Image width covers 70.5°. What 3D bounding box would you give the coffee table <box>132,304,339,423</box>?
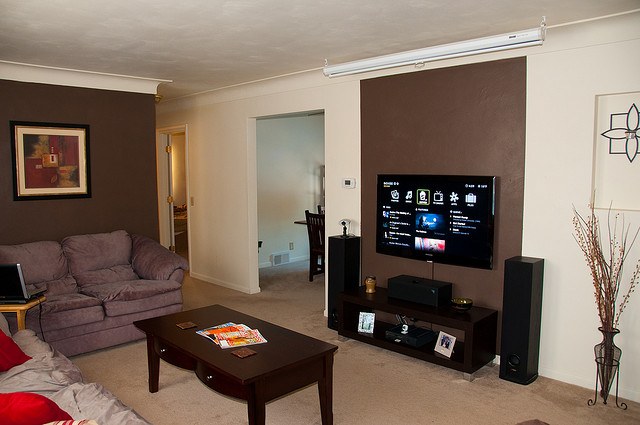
[{"bbox_3d":[-0.746,1.448,4.123,1.704,0.732,0.863,8,14,37],"label":"coffee table"}]

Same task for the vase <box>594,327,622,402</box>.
[{"bbox_3d":[2.647,1.406,4.193,0.210,0.694,0.141,5,13,22],"label":"vase"}]

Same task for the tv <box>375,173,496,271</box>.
[{"bbox_3d":[1.267,0.061,5.116,1.393,0.951,0.107,4,7,37],"label":"tv"}]

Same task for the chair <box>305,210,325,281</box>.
[{"bbox_3d":[-0.112,0.555,7.330,0.231,1.197,0.440,-7,14,-29],"label":"chair"}]

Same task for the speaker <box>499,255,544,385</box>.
[{"bbox_3d":[2.020,1.063,4.541,0.398,1.205,0.423,4,13,21],"label":"speaker"}]
